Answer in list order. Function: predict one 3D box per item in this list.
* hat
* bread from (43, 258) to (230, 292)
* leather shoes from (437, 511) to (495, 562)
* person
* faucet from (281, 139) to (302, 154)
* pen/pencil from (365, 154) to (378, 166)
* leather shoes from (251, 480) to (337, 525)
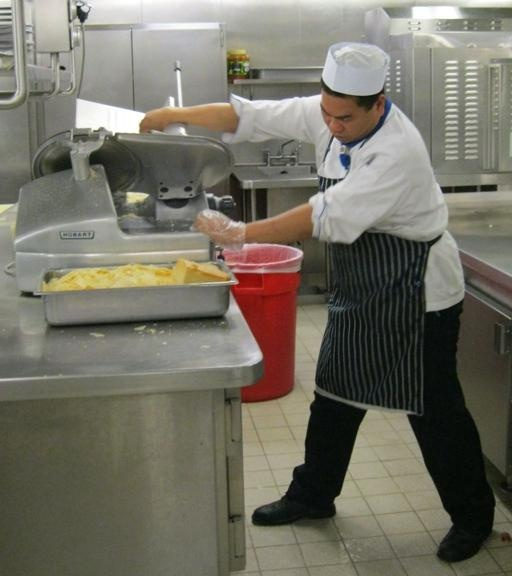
[{"bbox_3d":[0.268,-0.549,1.457,0.153,0.070,0.191,14,43,12],"label":"hat"},{"bbox_3d":[-0.288,-0.042,1.343,0.437,0.062,0.267,-3,14,-11],"label":"bread"},{"bbox_3d":[0.652,0.777,1.743,0.225,0.086,0.081,-10,12,-37],"label":"leather shoes"},{"bbox_3d":[0.151,0.084,1.762,1.190,1.538,0.740,7,21,24],"label":"person"},{"bbox_3d":[0.321,-1.252,4.976,0.190,0.203,0.135,-1,19,-4],"label":"faucet"},{"bbox_3d":[0.299,-0.329,1.436,0.027,0.028,0.025,1,14,5],"label":"pen/pencil"},{"bbox_3d":[0.119,0.744,1.954,0.323,0.145,0.115,1,4,-5],"label":"leather shoes"}]
